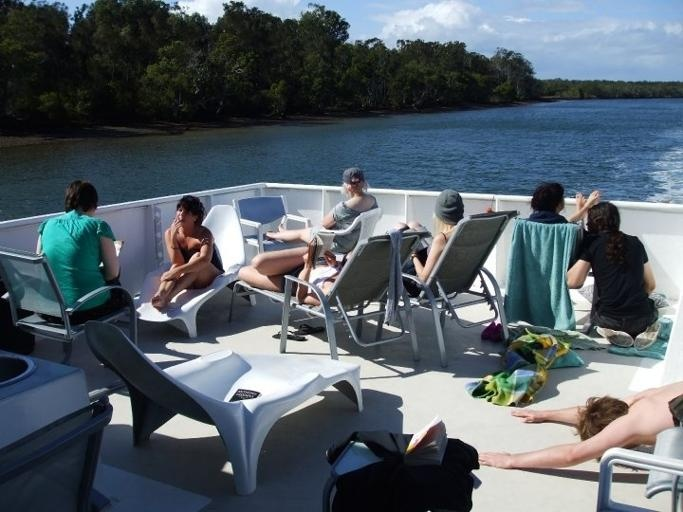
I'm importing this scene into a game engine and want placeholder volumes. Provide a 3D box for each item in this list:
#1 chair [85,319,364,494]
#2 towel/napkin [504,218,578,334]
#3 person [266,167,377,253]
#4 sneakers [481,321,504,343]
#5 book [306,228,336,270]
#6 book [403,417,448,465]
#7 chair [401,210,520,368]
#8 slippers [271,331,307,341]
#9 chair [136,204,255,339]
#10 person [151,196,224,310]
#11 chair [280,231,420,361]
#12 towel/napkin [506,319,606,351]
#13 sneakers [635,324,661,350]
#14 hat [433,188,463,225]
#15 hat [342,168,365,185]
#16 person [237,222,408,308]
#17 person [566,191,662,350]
[{"bbox_3d":[-0.474,0.541,2.825,0.767,0.823,1.390,10,20,28],"label":"chair"},{"bbox_3d":[1.654,0.044,4.293,0.659,0.860,0.715,-5,22,-2],"label":"towel/napkin"},{"bbox_3d":[-0.248,-0.480,5.154,1.281,0.861,0.538,13,19,34],"label":"person"},{"bbox_3d":[1.168,0.582,4.014,0.147,0.157,0.051,-7,-31,42],"label":"sneakers"},{"bbox_3d":[-0.185,-0.062,3.950,0.103,0.305,0.221,3,-2,25],"label":"book"},{"bbox_3d":[0.329,0.752,2.080,0.169,0.146,0.065,-23,-16,-3],"label":"book"},{"bbox_3d":[0.847,0.204,4.138,1.148,1.075,0.838,14,-19,-2],"label":"chair"},{"bbox_3d":[-0.403,0.613,4.059,0.235,0.061,0.099,0,8,14],"label":"slippers"},{"bbox_3d":[-1.233,0.055,4.395,0.718,0.781,1.154,7,18,23],"label":"chair"},{"bbox_3d":[-1.270,-0.070,4.178,0.397,0.829,0.812,-2,9,12],"label":"person"},{"bbox_3d":[0.000,0.218,3.845,0.732,0.917,1.026,-9,17,-36],"label":"chair"},{"bbox_3d":[1.686,0.606,3.853,0.372,0.066,0.325,3,10,-19],"label":"towel/napkin"},{"bbox_3d":[2.181,0.582,3.751,0.104,0.233,0.062,36,4,5],"label":"sneakers"},{"bbox_3d":[0.808,-0.395,3.917,0.197,0.210,0.242,3,30,5],"label":"hat"},{"bbox_3d":[0.135,-0.718,4.792,0.143,0.105,0.196,17,27,35],"label":"hat"},{"bbox_3d":[-0.193,0.087,4.030,1.126,0.475,0.830,17,23,18],"label":"person"},{"bbox_3d":[2.030,0.131,3.851,0.636,1.020,0.374,10,18,33],"label":"person"}]
